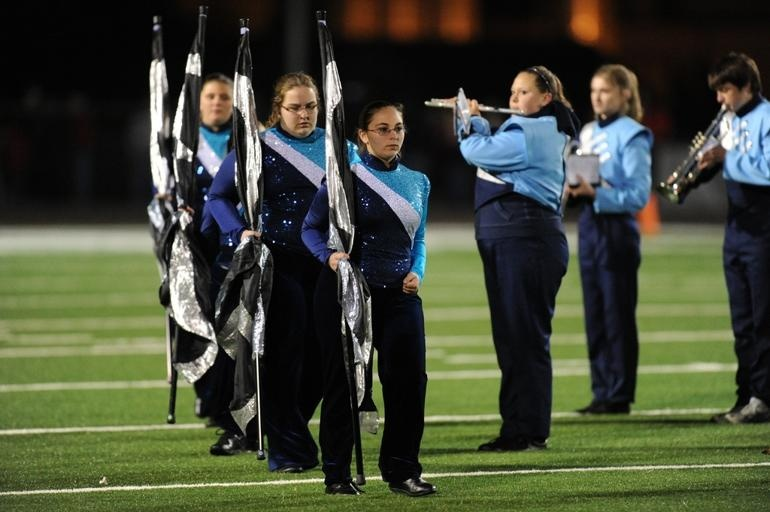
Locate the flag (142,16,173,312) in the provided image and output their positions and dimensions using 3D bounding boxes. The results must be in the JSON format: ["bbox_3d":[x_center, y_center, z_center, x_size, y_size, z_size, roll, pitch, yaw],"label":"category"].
[{"bbox_3d":[-2.806,-1.098,20.111,0.469,4.132,0.436,3,-17,-23],"label":"flag"}]

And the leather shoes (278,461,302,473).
[{"bbox_3d":[-1.156,2.494,19.466,0.306,0.182,0.128,-2,-6,19],"label":"leather shoes"}]

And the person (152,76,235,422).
[{"bbox_3d":[-2.316,-0.365,20.411,1.216,3.542,1.194,0,-3,-8],"label":"person"}]

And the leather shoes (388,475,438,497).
[{"bbox_3d":[0.344,2.667,19.119,0.557,0.209,0.226,-1,0,8],"label":"leather shoes"}]

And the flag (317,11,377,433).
[{"bbox_3d":[-0.369,-0.399,19.282,0.884,4.397,0.778,1,-1,1],"label":"flag"}]

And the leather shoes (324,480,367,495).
[{"bbox_3d":[-0.488,2.671,19.081,0.361,0.121,0.187,-4,-5,12],"label":"leather shoes"}]

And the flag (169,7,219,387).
[{"bbox_3d":[-2.110,-0.563,19.400,0.821,3.984,0.742,1,-7,-12],"label":"flag"}]
